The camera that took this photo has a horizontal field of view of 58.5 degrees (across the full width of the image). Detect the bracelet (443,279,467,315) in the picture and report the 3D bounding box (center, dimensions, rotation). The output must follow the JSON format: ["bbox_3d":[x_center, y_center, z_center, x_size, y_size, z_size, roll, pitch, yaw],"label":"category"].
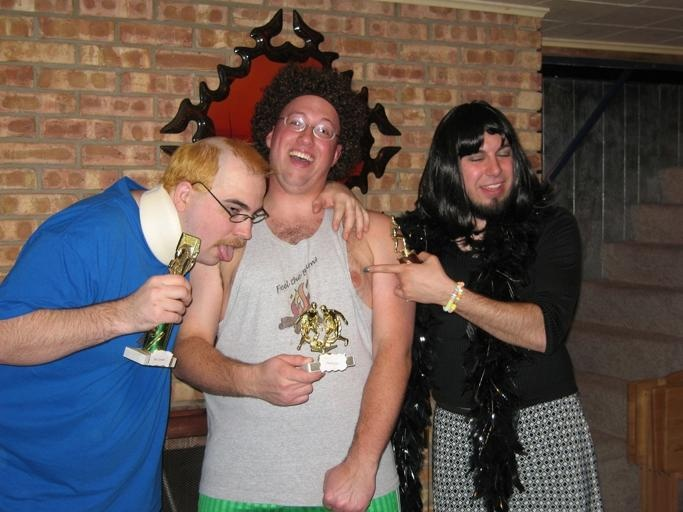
[{"bbox_3d":[0.416,0.147,2.217,0.032,0.101,0.089,35,3,12],"label":"bracelet"}]

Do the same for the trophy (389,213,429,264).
[{"bbox_3d":[0.230,-0.071,2.198,0.106,0.177,0.108,-1,11,-30],"label":"trophy"}]
